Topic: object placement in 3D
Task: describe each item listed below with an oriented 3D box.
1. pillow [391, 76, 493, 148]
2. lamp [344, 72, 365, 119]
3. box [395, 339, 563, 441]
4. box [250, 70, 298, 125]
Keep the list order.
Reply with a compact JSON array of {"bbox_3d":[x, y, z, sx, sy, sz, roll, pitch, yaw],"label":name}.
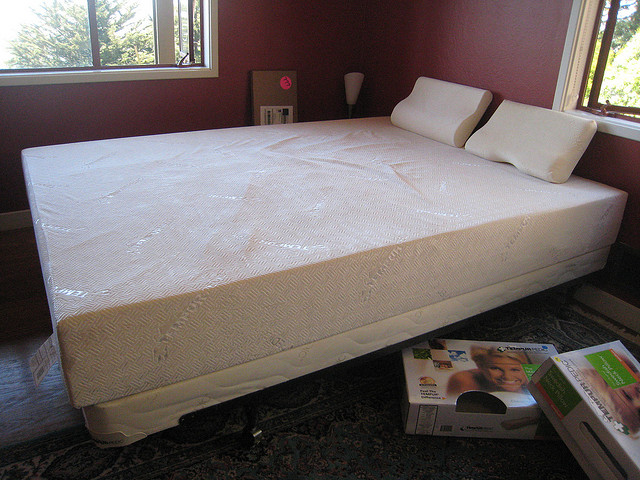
[{"bbox_3d":[0.853,-0.924,3.229,0.492,0.511,0.786,-10,26,-26],"label":"pillow"},{"bbox_3d":[0.298,-1.294,4.084,0.154,0.378,0.188,3,30,2],"label":"lamp"},{"bbox_3d":[0.747,0.645,2.071,0.751,0.187,0.404,2,31,0],"label":"box"},{"bbox_3d":[-0.383,-1.202,3.843,0.393,0.449,0.210,-10,26,-33],"label":"box"}]
